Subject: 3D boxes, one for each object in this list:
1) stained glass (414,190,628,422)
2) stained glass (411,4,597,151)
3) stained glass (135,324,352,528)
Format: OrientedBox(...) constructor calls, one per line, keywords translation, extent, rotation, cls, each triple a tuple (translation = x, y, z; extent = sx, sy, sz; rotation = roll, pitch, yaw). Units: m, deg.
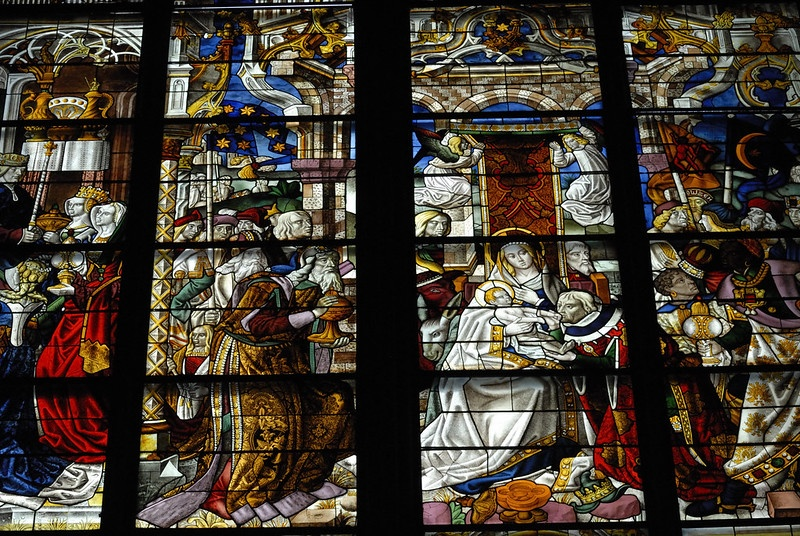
OrientedBox(translation=(0.954, 0.387, 12.850), extent=(2.475, 1.670, 0.349), rotation=(0, -18, -3), cls="stained glass")
OrientedBox(translation=(0.850, -1.498, 13.381), extent=(1.821, 0.959, 0.070), rotation=(-1, -25, -1), cls="stained glass")
OrientedBox(translation=(-1.220, 1.298, 12.642), extent=(2.127, 1.429, 0.208), rotation=(0, -9, 2), cls="stained glass")
